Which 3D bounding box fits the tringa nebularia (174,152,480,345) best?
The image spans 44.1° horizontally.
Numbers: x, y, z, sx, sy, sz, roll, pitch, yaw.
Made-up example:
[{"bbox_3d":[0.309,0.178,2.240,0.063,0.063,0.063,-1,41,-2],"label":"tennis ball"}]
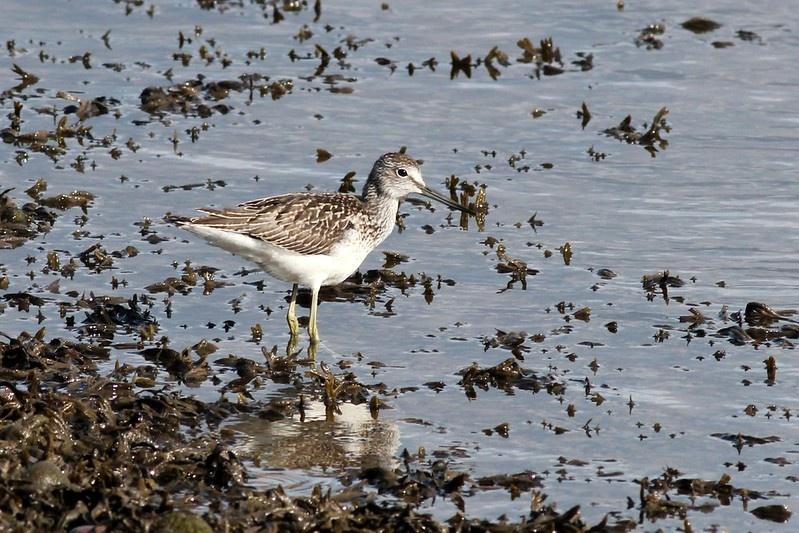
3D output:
[{"bbox_3d":[-1.193,-0.221,12.279,3.677,2.021,2.166,1,-63,-14],"label":"tringa nebularia"}]
